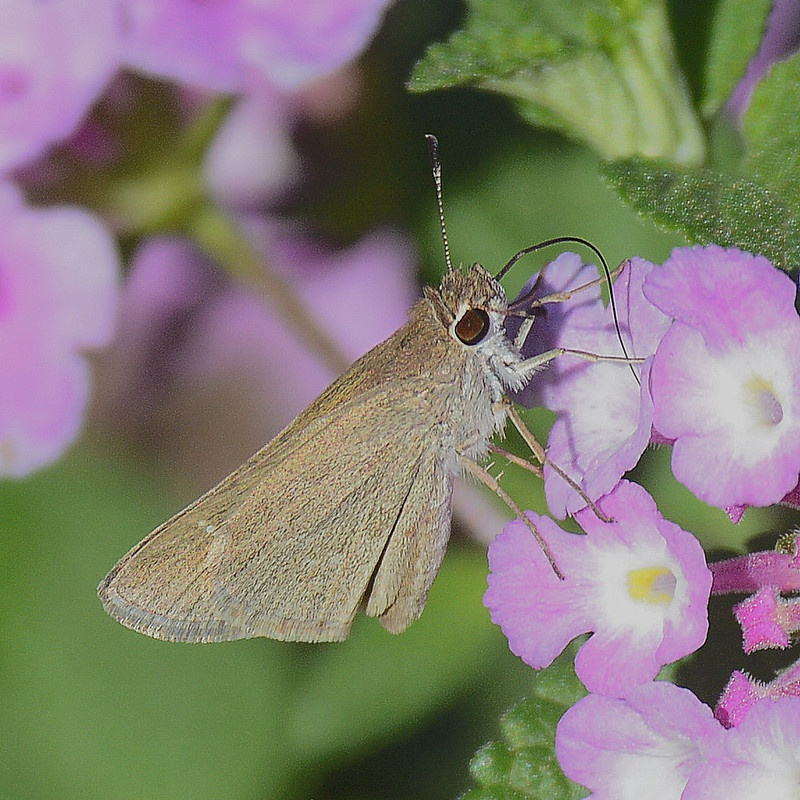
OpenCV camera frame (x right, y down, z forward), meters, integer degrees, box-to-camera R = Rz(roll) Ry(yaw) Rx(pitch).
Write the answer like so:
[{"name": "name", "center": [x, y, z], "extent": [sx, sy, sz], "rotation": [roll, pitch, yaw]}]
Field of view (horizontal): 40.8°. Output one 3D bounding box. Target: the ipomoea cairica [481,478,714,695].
[{"name": "ipomoea cairica", "center": [0.231, 0.224, 1.222], "extent": [0.235, 0.080, 0.248], "rotation": [-30, 64, 30]}]

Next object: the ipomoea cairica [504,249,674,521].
[{"name": "ipomoea cairica", "center": [0.243, -0.010, 1.372], "extent": [0.077, 0.275, 0.299], "rotation": [7, 72, -17]}]
